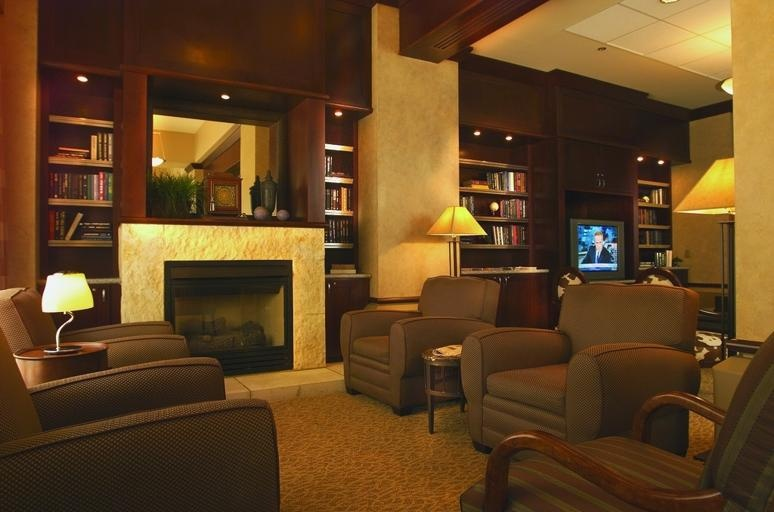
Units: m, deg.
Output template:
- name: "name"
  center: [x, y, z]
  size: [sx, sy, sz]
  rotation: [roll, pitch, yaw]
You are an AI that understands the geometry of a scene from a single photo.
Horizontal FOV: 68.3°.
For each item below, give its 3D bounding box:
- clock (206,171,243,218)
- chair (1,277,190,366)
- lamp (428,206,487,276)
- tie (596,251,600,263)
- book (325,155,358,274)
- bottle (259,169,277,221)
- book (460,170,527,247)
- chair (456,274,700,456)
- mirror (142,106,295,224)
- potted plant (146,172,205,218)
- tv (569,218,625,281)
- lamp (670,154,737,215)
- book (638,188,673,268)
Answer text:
- name: "clock"
  center: [-1.496, -0.554, 5.214]
  size: [0.324, 0.410, 0.097]
  rotation: [-7, 13, -10]
- name: "chair"
  center: [-1.816, 0.473, 3.579]
  size: [0.904, 0.855, 0.644]
  rotation: [-2, 4, -31]
- name: "lamp"
  center: [0.678, -0.087, 5.848]
  size: [0.633, 0.817, 0.576]
  rotation: [0, -1, 11]
- name: "tie"
  center: [2.863, 0.025, 7.778]
  size: [0.108, 0.116, 0.020]
  rotation: [-15, 16, -39]
- name: "book"
  center: [-0.522, -0.538, 6.266]
  size: [0.379, 1.290, 0.601]
  rotation: [-3, 13, 6]
- name: "bottle"
  center: [-1.155, -0.595, 5.457]
  size: [0.156, 0.408, 0.318]
  rotation: [-2, 13, 9]
- name: "book"
  center: [1.250, -0.576, 6.973]
  size: [1.008, 0.878, 0.291]
  rotation: [2, -6, -27]
- name: "chair"
  center: [1.273, 0.478, 3.821]
  size: [1.276, 1.146, 1.273]
  rotation: [3, -5, -30]
- name: "mirror"
  center: [-1.646, -0.861, 5.419]
  size: [1.254, 0.990, 0.133]
  rotation: [-1, -1, -9]
- name: "potted plant"
  center: [-1.934, -0.483, 5.194]
  size: [0.417, 0.343, 0.468]
  rotation: [4, -4, -44]
- name: "tv"
  center: [2.786, -0.082, 7.685]
  size: [0.900, 0.794, 0.479]
  rotation: [0, -3, -31]
- name: "lamp"
  center: [2.159, -0.443, 3.903]
  size: [0.487, 0.303, 0.502]
  rotation: [1, -2, 24]
- name: "book"
  center: [4.098, -0.529, 8.772]
  size: [0.496, 1.278, 0.892]
  rotation: [1, 14, 25]
